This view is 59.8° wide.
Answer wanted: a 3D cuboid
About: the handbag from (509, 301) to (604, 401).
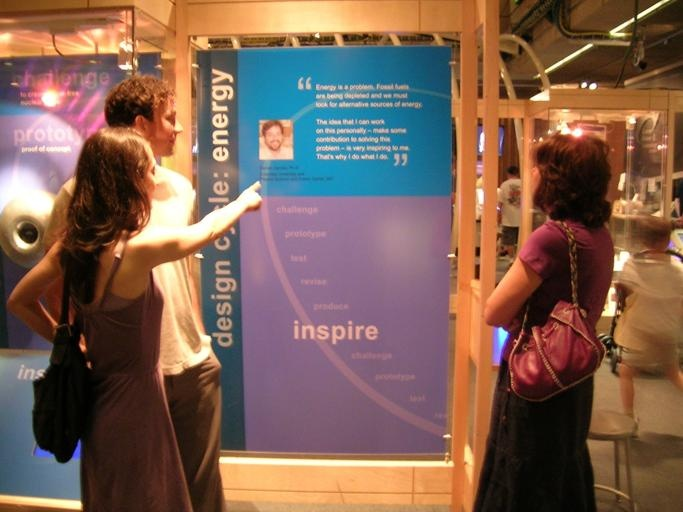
[{"bbox_3d":[0.841,0.370,2.349,0.280,0.288,0.149,-31,-12,16],"label":"handbag"}]
